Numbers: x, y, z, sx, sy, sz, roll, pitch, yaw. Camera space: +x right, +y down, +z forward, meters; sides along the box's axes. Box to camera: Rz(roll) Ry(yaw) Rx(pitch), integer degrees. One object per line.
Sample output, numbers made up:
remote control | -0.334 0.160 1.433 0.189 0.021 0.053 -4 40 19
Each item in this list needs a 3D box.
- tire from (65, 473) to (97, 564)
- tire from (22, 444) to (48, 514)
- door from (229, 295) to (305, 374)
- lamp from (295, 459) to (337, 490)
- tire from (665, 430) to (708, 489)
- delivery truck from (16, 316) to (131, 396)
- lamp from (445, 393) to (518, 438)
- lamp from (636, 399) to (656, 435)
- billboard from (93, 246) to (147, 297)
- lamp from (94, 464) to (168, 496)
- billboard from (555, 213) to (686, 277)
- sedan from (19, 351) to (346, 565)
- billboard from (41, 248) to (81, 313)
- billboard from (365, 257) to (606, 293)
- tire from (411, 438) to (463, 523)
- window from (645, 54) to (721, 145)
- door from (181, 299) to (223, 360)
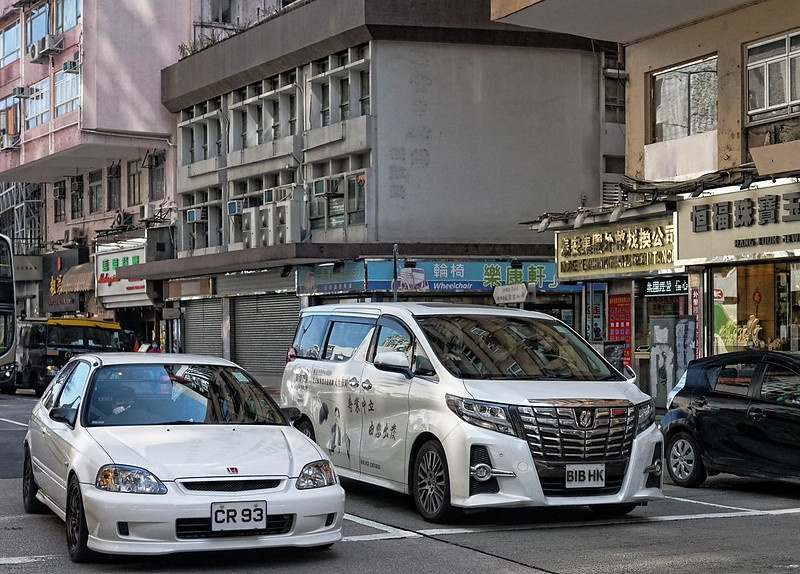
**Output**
tire | -2.845 2.058 9.025 0.240 0.746 0.745 3 -8 -19
tire | -4.090 2.126 11.381 0.258 0.785 0.787 3 -16 -27
door | -4.407 1.525 33.792 0.124 2.127 2.968 5 -5 -35
lamp | -0.761 1.702 9.236 0.207 0.135 0.293 -3 9 -1
tire | 3.906 2.287 13.575 0.223 0.672 0.668 7 10 -28
delivery truck | -10.819 1.817 32.813 3.646 2.585 5.324 3 -8 -28
lamp | 0.915 1.322 10.512 0.454 0.138 0.437 14 10 -26
lamp | 2.708 1.406 11.040 0.130 0.325 0.260 10 3 11
billboard | -12.762 -0.859 47.320 3.984 1.909 0.283 -7 -5 30
lamp | -2.361 1.670 8.803 0.342 0.128 0.354 9 9 44
billboard | 5.654 -0.946 25.552 0.708 1.401 5.164 4 -4 -24
sedan | -2.265 1.669 9.641 3.457 1.625 1.962 10 10 34
billboard | -17.591 -0.275 52.699 3.700 3.189 0.457 -5 -5 38
billboard | 2.292 -0.330 33.876 6.839 1.244 1.133 2 9 -17
tire | 0.435 2.042 10.737 0.221 0.673 0.676 8 -40 -26
window | 6.858 -4.356 23.902 2.169 1.805 0.093 -15 21 -31
door | -8.490 1.467 43.316 0.109 1.863 2.626 2 3 31
